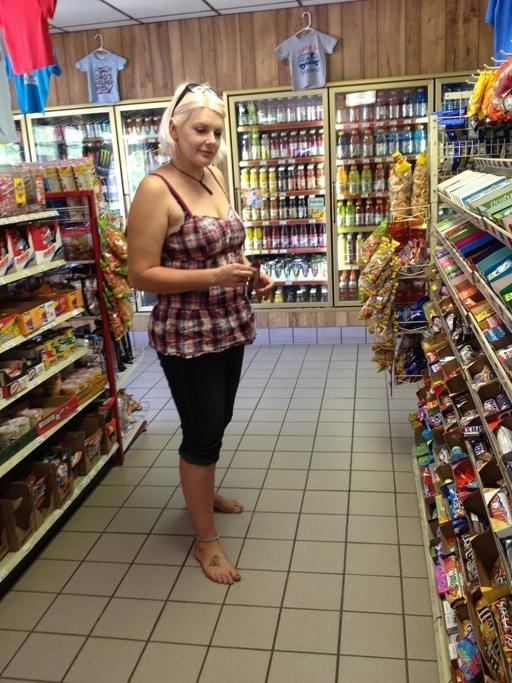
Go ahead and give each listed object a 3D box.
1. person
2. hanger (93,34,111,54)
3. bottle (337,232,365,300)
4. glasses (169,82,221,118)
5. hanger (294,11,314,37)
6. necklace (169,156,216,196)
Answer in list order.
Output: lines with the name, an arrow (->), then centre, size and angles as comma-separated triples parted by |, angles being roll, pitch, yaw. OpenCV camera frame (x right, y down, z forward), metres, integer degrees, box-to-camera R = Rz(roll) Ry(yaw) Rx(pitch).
person -> -0.172, 0.016, 1.747 | 0.497, 1.911, 0.494 | -5, 11, 4
hanger -> -1.718, -3.315, 4.803 | 0.156, 0.226, 0.037 | -2, 12, 15
bottle -> 1.126, -0.867, 5.039 | 0.360, 0.783, 0.336 | -5, 11, 1
glasses -> -0.202, -0.828, 1.443 | 0.146, 0.138, 0.043 | -5, 49, -40
hanger -> 0.497, -3.263, 4.432 | 0.310, 0.195, 0.008 | 11, 29, 24
necklace -> -0.237, -0.610, 1.612 | 0.159, 0.127, 0.070 | -12, 13, -33
